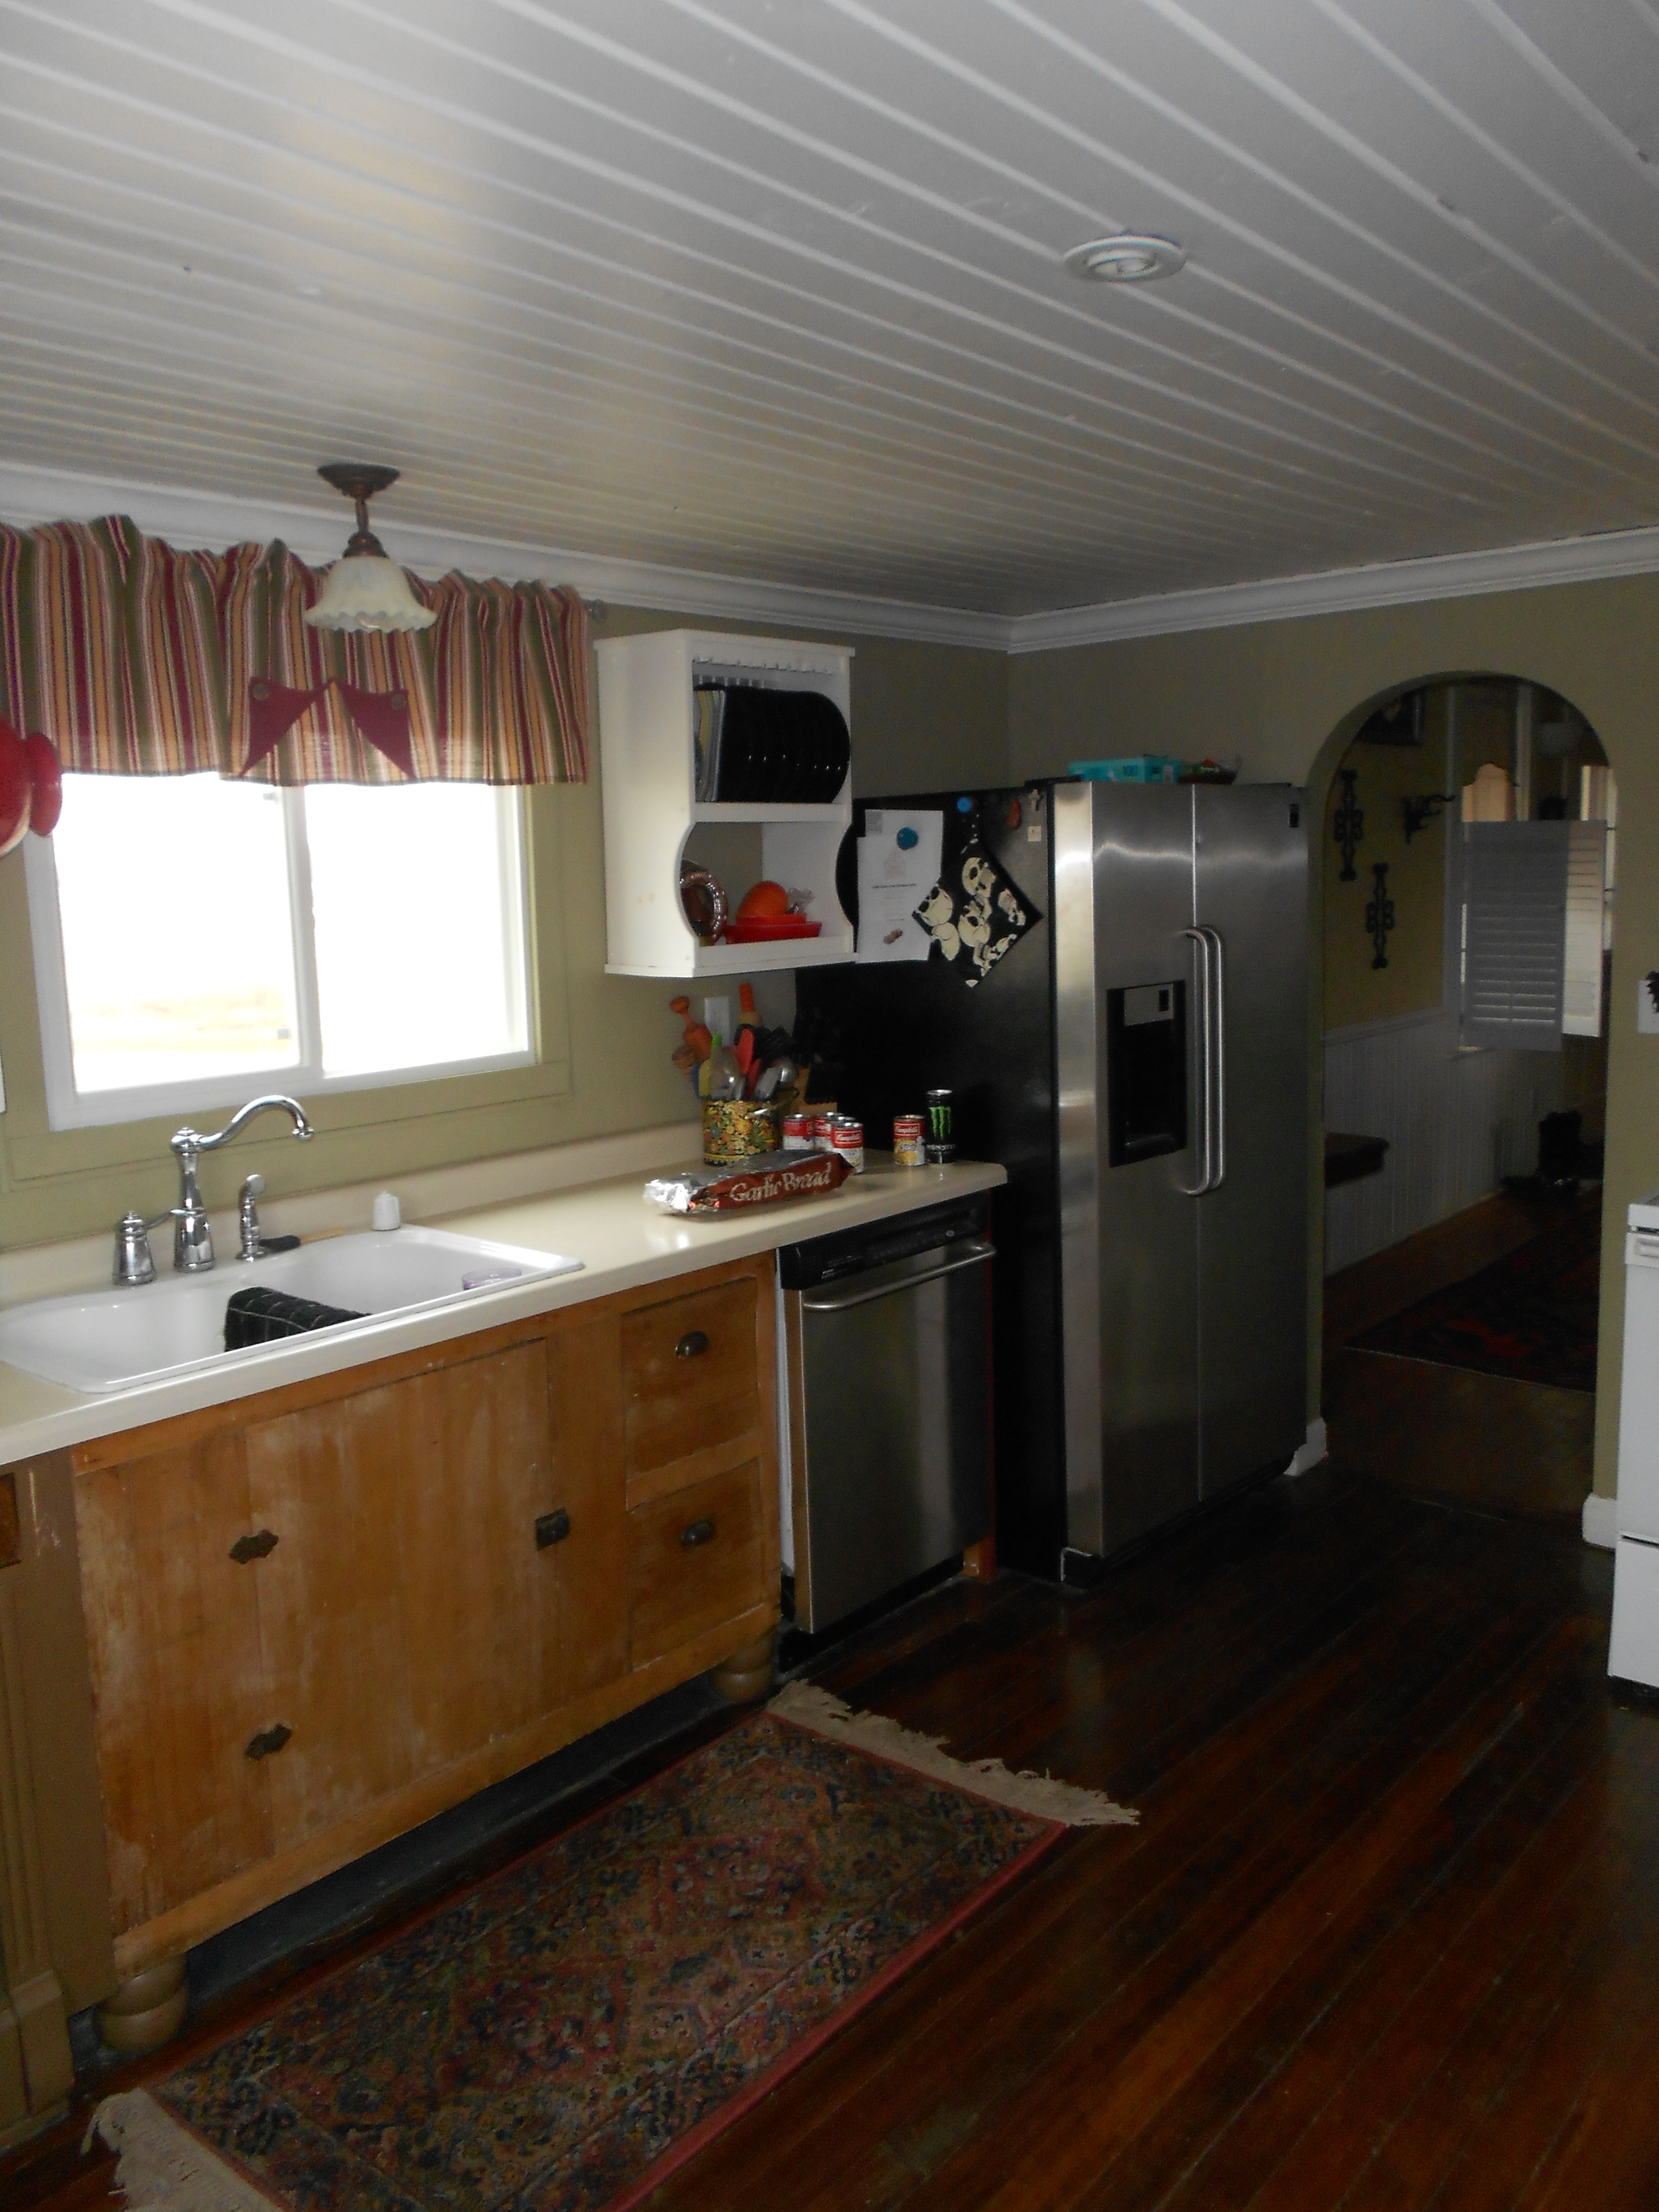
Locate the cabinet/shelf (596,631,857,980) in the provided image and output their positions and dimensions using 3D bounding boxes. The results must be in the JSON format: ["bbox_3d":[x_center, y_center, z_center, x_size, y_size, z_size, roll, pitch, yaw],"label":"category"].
[{"bbox_3d":[-0.231,-0.645,3.463,0.315,0.846,0.696,5,10,34],"label":"cabinet/shelf"}]

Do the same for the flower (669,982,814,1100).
[{"bbox_3d":[-0.207,-0.159,3.821,0.301,0.210,0.279,-2,1,-11],"label":"flower"}]

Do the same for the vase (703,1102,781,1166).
[{"bbox_3d":[-0.189,0.042,3.545,0.133,0.136,0.138,-5,8,-36],"label":"vase"}]

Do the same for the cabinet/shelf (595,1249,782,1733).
[{"bbox_3d":[-0.395,0.667,3.080,0.435,0.785,0.418,6,11,37],"label":"cabinet/shelf"}]

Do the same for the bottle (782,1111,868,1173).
[{"bbox_3d":[-0.010,0.071,3.592,0.138,0.104,0.141,0,0,0],"label":"bottle"}]

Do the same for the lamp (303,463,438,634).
[{"bbox_3d":[-0.692,-0.835,2.423,0.200,0.210,0.202,12,22,35],"label":"lamp"}]

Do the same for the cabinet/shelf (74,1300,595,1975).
[{"bbox_3d":[-0.726,0.765,2.346,0.282,0.774,0.880,3,6,35],"label":"cabinet/shelf"}]
